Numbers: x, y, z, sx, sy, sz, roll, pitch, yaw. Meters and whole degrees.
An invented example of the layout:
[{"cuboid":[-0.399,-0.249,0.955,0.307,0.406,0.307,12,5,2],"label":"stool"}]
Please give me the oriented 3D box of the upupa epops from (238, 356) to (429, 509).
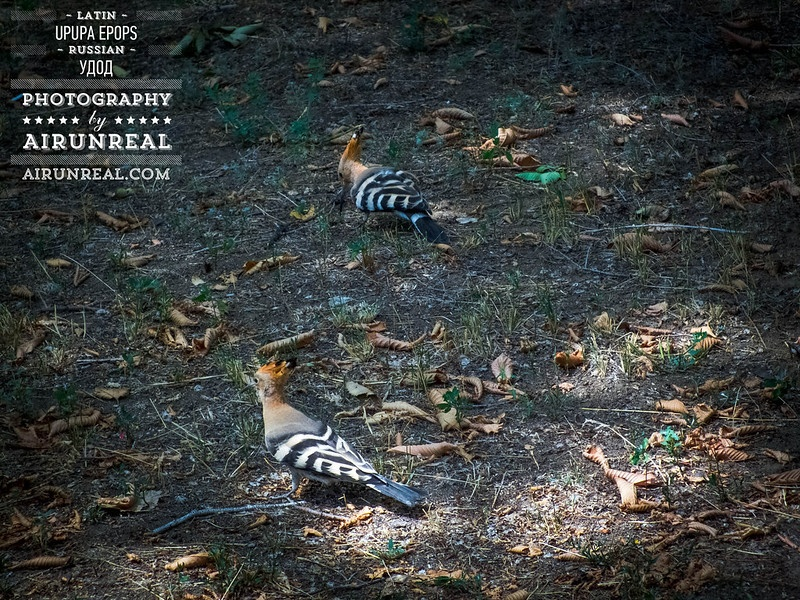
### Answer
[{"cuboid":[-0.506,1.050,7.433,1.512,0.856,0.474,19,41,37],"label":"upupa epops"}]
